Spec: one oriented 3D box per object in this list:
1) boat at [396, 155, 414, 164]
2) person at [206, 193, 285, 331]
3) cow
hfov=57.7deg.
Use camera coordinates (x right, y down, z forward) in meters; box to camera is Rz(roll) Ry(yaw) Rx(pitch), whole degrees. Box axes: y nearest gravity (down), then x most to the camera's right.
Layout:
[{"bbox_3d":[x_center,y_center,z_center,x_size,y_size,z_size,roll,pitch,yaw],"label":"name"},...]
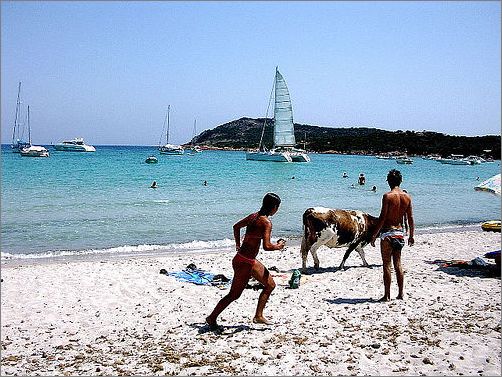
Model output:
[{"bbox_3d":[34.435,-6.398,102.189,2.481,1.167,4.359,1,6,-3],"label":"boat"},{"bbox_3d":[-0.054,1.156,7.067,1.167,2.194,1.179,-1,6,1],"label":"person"},{"bbox_3d":[2.227,1.357,11.200,1.773,1.048,0.744,5,-11,-24],"label":"cow"}]
